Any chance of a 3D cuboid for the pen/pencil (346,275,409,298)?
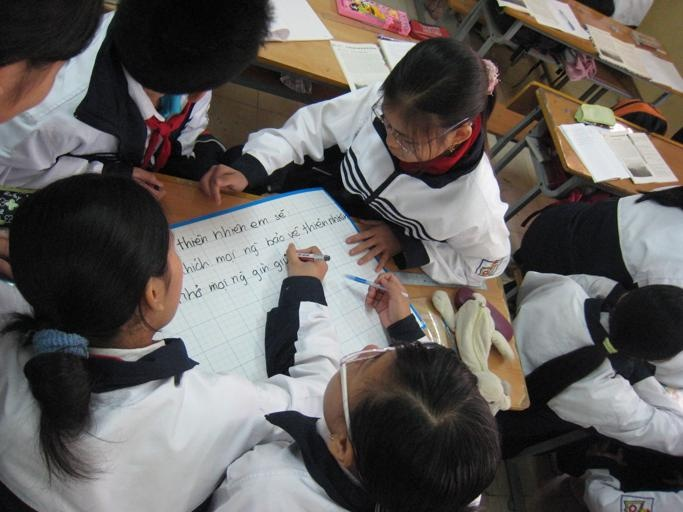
[{"bbox_3d":[0.110,0.101,1.658,0.134,0.021,0.019,25,15,1],"label":"pen/pencil"}]
